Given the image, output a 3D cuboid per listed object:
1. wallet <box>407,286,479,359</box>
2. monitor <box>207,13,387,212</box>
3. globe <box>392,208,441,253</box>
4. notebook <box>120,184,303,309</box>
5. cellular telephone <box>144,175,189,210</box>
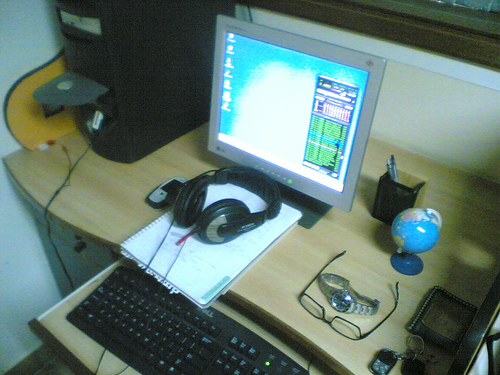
[{"bbox_3d":[0.457,0.314,1.005,0.139,0.031,0.134,26,58,27],"label":"wallet"},{"bbox_3d":[0.095,-0.202,1.141,0.523,0.374,0.159,26,52,24],"label":"monitor"},{"bbox_3d":[0.418,0.114,1.086,0.109,0.105,0.085,17,48,16],"label":"globe"},{"bbox_3d":[-0.092,0.158,1.123,0.313,0.068,0.362,29,52,31],"label":"notebook"},{"bbox_3d":[-0.253,0.018,1.266,0.076,0.026,0.109,28,54,24],"label":"cellular telephone"}]
